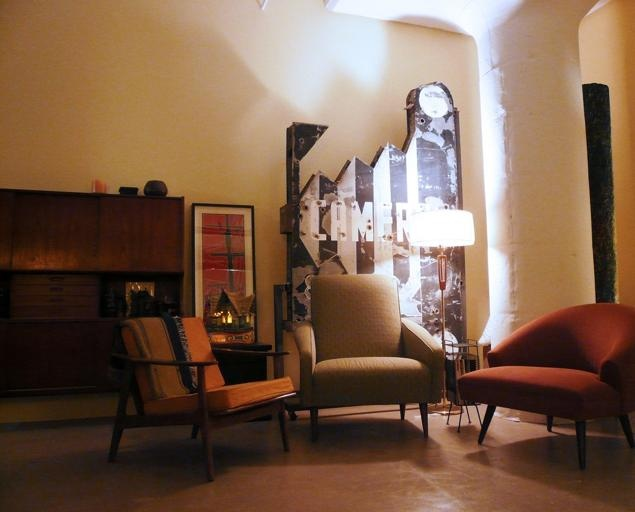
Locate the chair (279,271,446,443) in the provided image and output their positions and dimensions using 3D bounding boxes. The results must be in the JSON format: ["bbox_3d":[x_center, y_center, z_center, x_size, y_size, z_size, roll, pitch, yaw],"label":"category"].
[{"bbox_3d":[0.350,0.699,4.238,1.022,1.101,0.662,-1,1,-6],"label":"chair"}]

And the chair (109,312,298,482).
[{"bbox_3d":[-0.744,0.840,3.762,1.193,0.897,1.164,1,-6,-12],"label":"chair"}]
